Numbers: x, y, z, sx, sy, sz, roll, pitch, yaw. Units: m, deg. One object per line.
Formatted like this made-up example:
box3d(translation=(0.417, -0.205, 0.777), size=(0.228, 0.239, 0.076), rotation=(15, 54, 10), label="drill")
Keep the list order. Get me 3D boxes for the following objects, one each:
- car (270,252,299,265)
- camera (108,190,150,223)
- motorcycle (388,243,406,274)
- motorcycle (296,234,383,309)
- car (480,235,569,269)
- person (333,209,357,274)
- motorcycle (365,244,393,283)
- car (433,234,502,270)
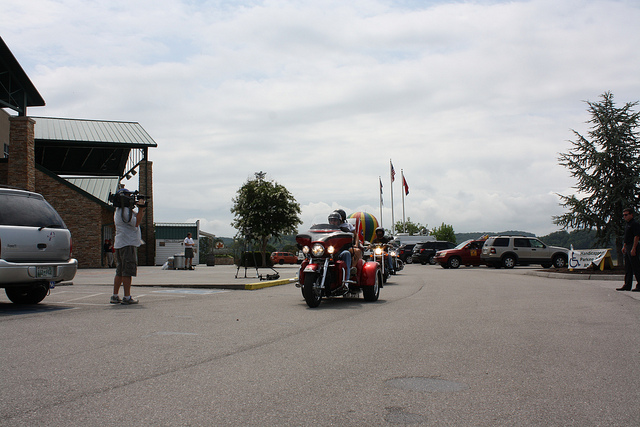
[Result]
box3d(translation=(-4.421, 5.595, 58.088), size=(3.632, 1.421, 1.795), rotation=(-3, 1, 2), label="car")
box3d(translation=(-4.353, -0.165, 10.992), size=(0.780, 0.731, 0.507), rotation=(1, -2, -20), label="camera")
box3d(translation=(3.044, 1.841, 19.798), size=(0.751, 0.766, 1.198), rotation=(-3, -9, -1), label="motorcycle")
box3d(translation=(0.324, 1.315, 11.982), size=(1.800, 1.698, 3.066), rotation=(-1, -6, 26), label="motorcycle")
box3d(translation=(12.478, 2.412, 30.099), size=(4.864, 1.860, 2.083), rotation=(-1, -1, -3), label="car")
box3d(translation=(0.639, 0.649, 11.928), size=(0.794, 1.390, 0.344), rotation=(0, -9, 36), label="person")
box3d(translation=(2.067, 1.657, 16.756), size=(0.859, 0.979, 1.585), rotation=(-4, -7, 7), label="motorcycle")
box3d(translation=(10.262, 2.637, 32.530), size=(5.089, 2.147, 2.032), rotation=(0, -4, -3), label="car")
